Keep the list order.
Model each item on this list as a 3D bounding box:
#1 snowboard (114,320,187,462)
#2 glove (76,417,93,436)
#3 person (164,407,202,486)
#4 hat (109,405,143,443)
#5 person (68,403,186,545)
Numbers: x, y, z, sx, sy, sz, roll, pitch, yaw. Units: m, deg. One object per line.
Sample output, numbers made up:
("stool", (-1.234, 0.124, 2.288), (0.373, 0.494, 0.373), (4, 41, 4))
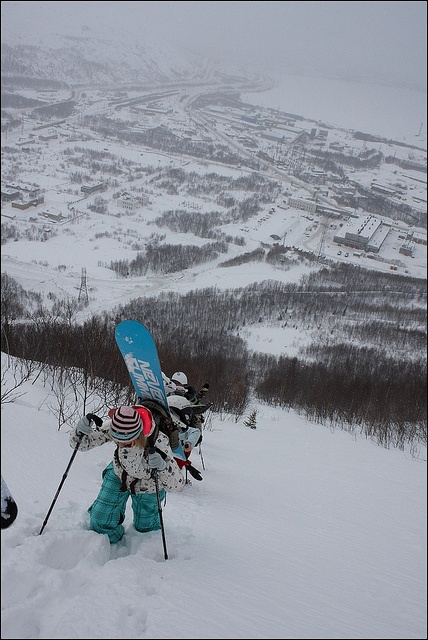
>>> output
("snowboard", (-0.874, 0.746, 7.834), (0.464, 0.137, 2.561), (14, 11, -20))
("glove", (-1.635, 1.340, 7.651), (0.196, 0.357, 0.270), (-2, 12, -14))
("person", (-0.445, 1.733, 8.418), (0.508, 0.630, 1.404), (13, -25, 11))
("hat", (-1.037, 1.268, 7.240), (0.385, 0.495, 0.323), (-2, 12, -11))
("person", (-1.076, 1.896, 7.648), (1.315, 1.899, 0.930), (1, 11, 4))
